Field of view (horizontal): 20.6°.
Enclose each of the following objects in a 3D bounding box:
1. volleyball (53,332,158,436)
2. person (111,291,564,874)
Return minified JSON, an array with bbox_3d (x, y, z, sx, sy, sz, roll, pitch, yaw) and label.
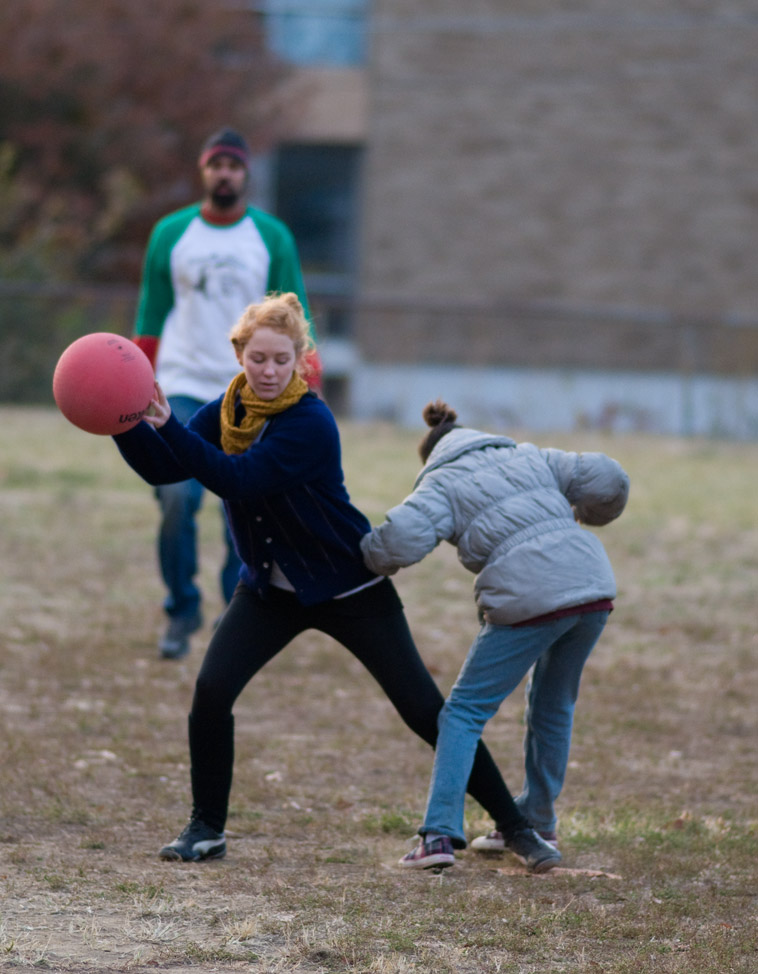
[{"bbox_3d":[-0.812,-0.326,6.226,0.262,0.333,0.234,-7,11,-31],"label":"volleyball"},{"bbox_3d":[-0.237,0.180,6.326,1.161,1.920,0.776,0,0,-21],"label":"person"}]
